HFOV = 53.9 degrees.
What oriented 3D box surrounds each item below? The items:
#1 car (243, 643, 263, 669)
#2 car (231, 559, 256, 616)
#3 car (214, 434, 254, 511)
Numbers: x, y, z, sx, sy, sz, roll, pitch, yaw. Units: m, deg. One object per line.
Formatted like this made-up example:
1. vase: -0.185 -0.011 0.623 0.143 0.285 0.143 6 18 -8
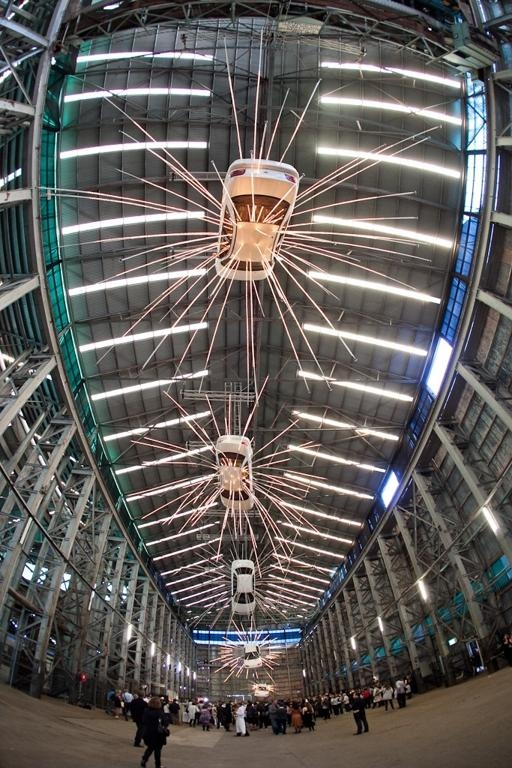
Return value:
1. car: -0.381 23.275 43.517 1.363 1.692 2.023 3 -44 -1
2. car: -0.891 14.139 35.054 1.937 1.205 3.904 1 -73 6
3. car: -0.934 4.163 24.285 1.774 1.259 4.093 2 -48 4
